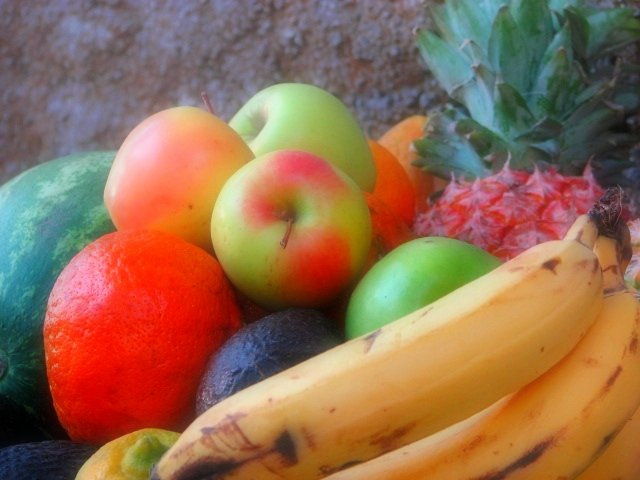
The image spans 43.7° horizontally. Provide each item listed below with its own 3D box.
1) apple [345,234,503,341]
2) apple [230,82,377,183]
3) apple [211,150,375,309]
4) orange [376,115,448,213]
[{"bbox_3d":[0.166,0.043,1.167,0.187,0.156,0.214,0,12,13],"label":"apple"},{"bbox_3d":[-0.029,-0.197,1.324,0.265,0.176,0.203,3,18,12],"label":"apple"},{"bbox_3d":[-0.064,-0.042,1.232,0.231,0.228,0.242,-4,15,-17],"label":"apple"},{"bbox_3d":[0.105,-0.113,1.529,0.146,0.136,0.144,-25,-2,11],"label":"orange"}]
